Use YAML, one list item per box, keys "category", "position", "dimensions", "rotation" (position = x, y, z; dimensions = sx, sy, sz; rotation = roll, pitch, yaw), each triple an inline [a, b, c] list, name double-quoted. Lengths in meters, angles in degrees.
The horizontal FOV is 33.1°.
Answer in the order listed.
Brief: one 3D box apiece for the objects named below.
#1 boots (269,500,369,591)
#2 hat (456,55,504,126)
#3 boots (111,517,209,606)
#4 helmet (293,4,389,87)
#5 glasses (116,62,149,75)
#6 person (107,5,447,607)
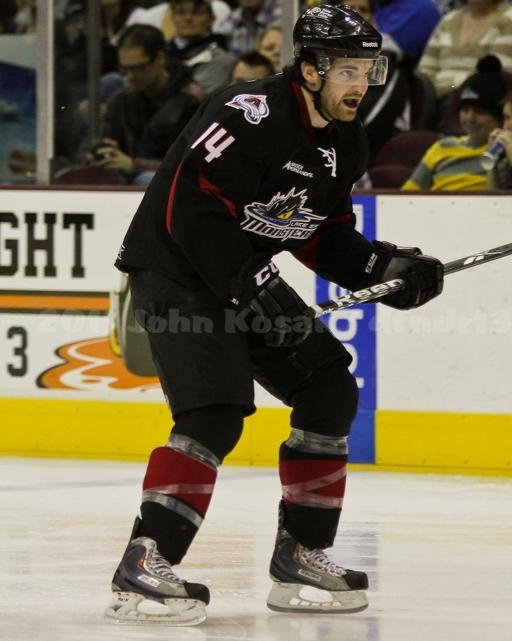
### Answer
- category: "boots"
  position: [0.156, 0.551, 2.048]
  dimensions: [0.279, 0.173, 0.093]
  rotation: [-2, -9, 43]
- category: "hat"
  position: [1.015, -1.035, 3.865]
  dimensions: [0.212, 0.357, 0.247]
  rotation: [1, 1, 11]
- category: "boots"
  position: [-0.181, 0.511, 1.813]
  dimensions: [0.265, 0.157, 0.084]
  rotation: [-2, -16, 36]
- category: "helmet"
  position: [0.181, -0.608, 1.920]
  dimensions: [0.266, 0.151, 0.190]
  rotation: [12, 17, 25]
- category: "glasses"
  position: [-0.598, -1.195, 4.093]
  dimensions: [0.114, 0.024, 0.098]
  rotation: [-8, 9, -16]
- category: "person"
  position: [0.038, -0.032, 2.009]
  dimensions: [0.738, 1.434, 0.449]
  rotation: [-1, 2, -44]
